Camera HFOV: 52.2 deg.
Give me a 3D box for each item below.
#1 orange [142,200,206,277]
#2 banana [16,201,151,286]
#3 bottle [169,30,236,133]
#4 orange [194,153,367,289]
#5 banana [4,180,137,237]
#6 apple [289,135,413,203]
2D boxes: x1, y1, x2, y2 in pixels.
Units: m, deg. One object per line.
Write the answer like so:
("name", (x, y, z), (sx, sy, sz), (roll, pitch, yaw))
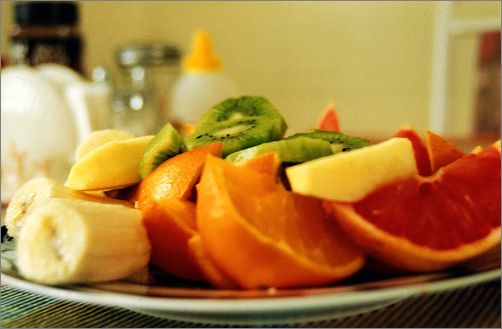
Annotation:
("orange", (-0.076, 0.064, 0.506), (0.057, 0.068, 0.075), (-4, 13, -39))
("banana", (-0.146, 0.059, 0.483), (0.081, 0.073, 0.107), (3, 10, 30))
("bottle", (-0.145, -0.219, 1.488), (0.130, 0.331, 0.171), (11, 21, 38))
("orange", (0.009, 0.051, 0.515), (0.176, 0.114, 0.112), (-15, 18, -42))
("banana", (-0.197, 0.030, 0.579), (0.142, 0.059, 0.112), (-4, 8, -17))
("apple", (0.098, 0.008, 0.448), (0.137, 0.047, 0.055), (-12, 28, -19))
